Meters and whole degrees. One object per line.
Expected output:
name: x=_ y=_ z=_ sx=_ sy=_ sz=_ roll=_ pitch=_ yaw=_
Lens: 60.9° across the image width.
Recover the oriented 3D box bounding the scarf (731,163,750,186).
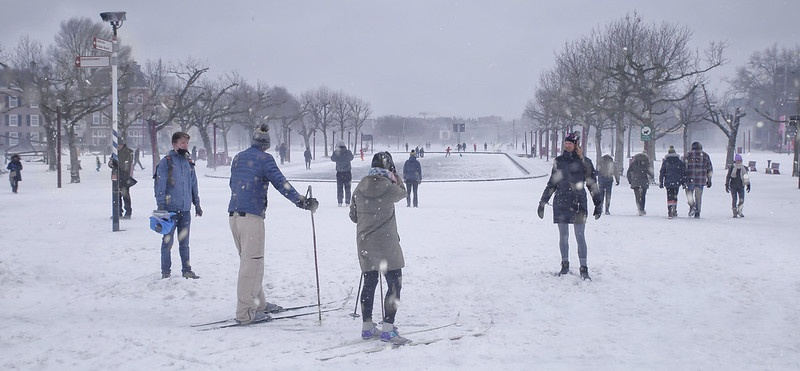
scarf: x=18.653 y=-0.625 z=37.617 sx=1.287 sy=1.123 sz=0.558 roll=4 pitch=8 yaw=6

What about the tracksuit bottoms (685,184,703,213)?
tracksuit bottoms: x=16.094 y=0.846 z=37.339 sx=0.727 sy=1.668 sz=0.832 roll=1 pitch=3 yaw=25

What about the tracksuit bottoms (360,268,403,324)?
tracksuit bottoms: x=-0.784 y=4.669 z=28.543 sx=1.620 sy=2.298 sz=0.295 roll=0 pitch=3 yaw=-2

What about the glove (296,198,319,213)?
glove: x=-3.872 y=0.818 z=28.797 sx=0.693 sy=0.319 sz=0.697 roll=-8 pitch=-17 yaw=34
